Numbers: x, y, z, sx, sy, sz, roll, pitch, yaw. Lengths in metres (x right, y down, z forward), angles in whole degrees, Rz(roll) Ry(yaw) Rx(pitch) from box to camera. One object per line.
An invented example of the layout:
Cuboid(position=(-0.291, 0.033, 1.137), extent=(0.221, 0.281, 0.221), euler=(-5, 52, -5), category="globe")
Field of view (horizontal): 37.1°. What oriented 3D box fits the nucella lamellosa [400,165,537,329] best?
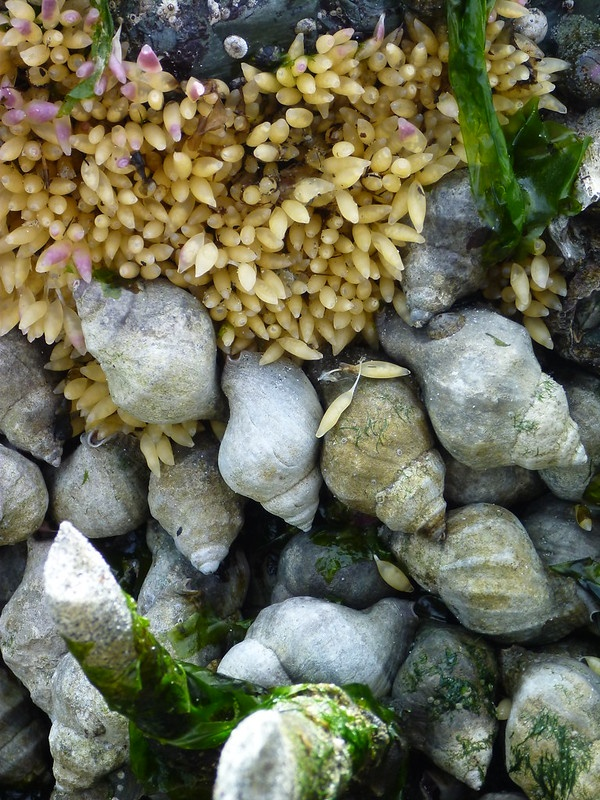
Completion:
Cuboid(position=(0.376, -0.382, 2.338), extent=(0.179, 0.326, 0.345), euler=(31, 69, 32), category="nucella lamellosa")
